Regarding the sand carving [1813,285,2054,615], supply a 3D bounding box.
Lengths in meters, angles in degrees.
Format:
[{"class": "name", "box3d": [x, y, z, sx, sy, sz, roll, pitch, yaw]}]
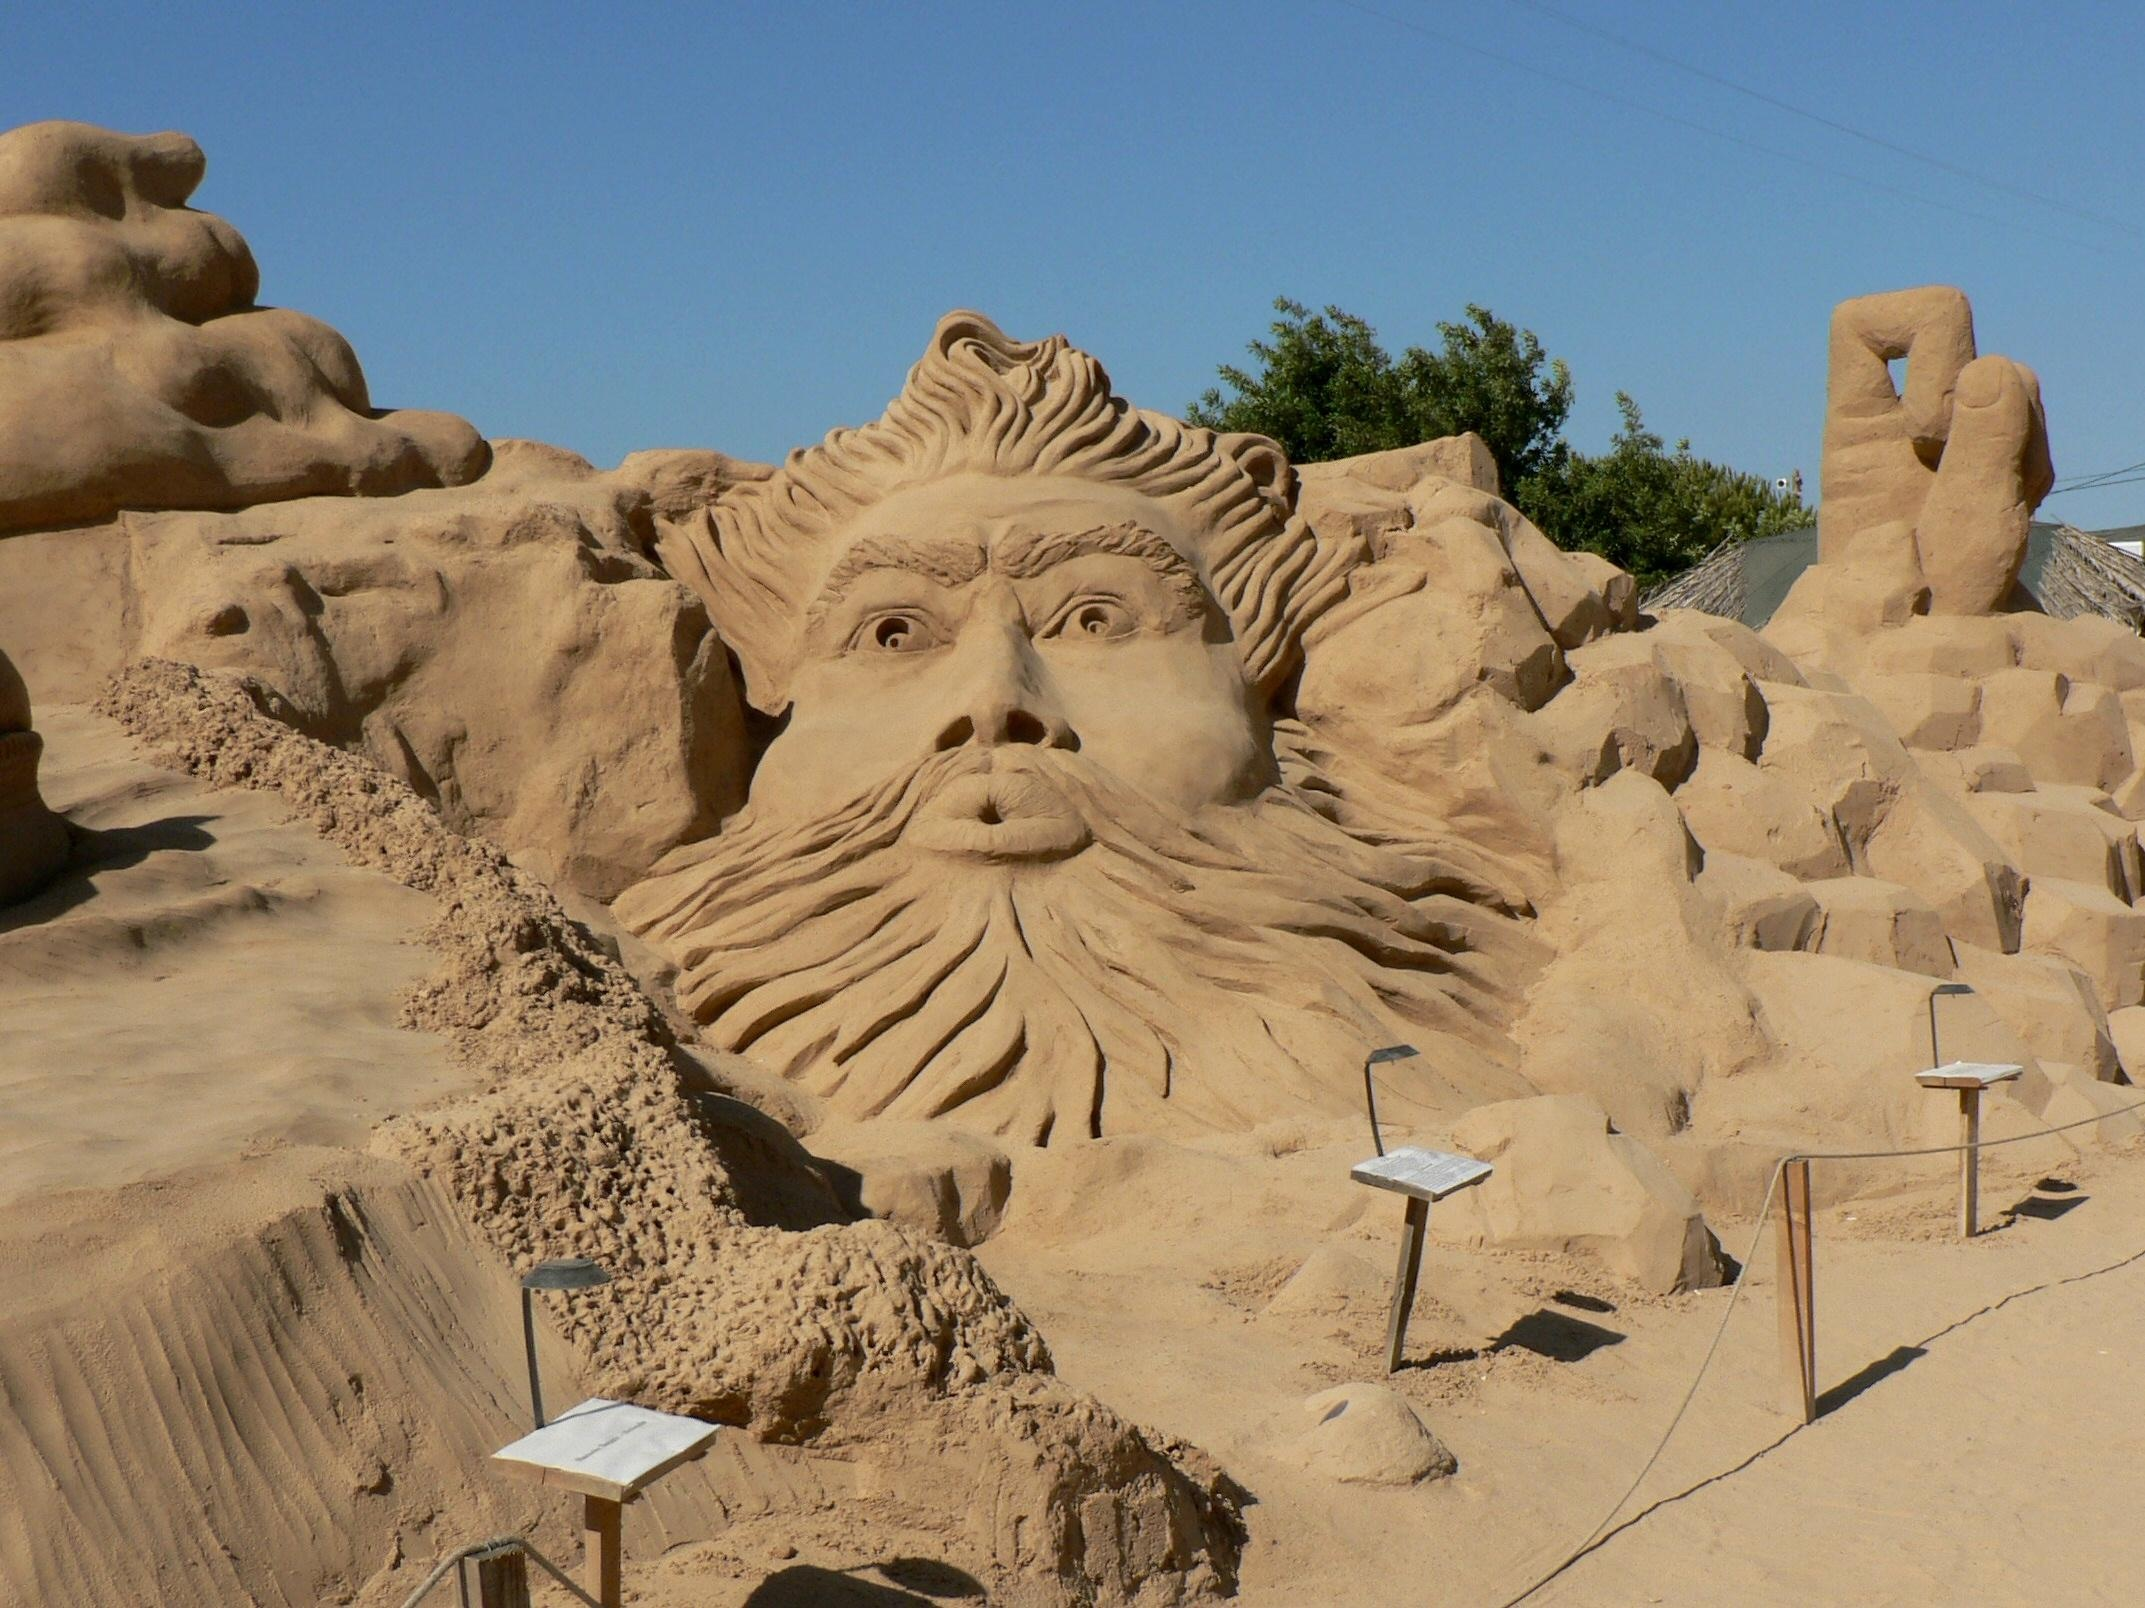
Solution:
[{"class": "sand carving", "box3d": [3.422, -1.420, 17.167, 0.341, 1.320, 1.059, 0, 2, -45]}]
